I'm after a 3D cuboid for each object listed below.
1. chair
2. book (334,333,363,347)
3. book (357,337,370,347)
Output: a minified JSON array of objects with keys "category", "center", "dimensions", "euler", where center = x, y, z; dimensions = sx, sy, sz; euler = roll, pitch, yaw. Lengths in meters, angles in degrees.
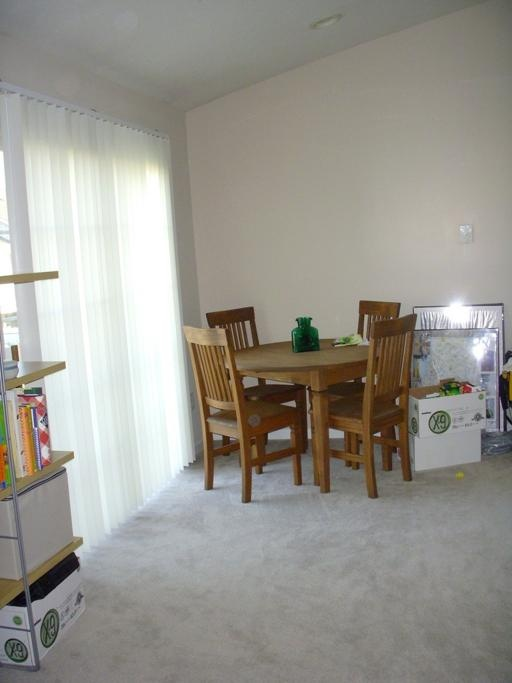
[{"category":"chair","center":[0.186,0.287,3.075],"dimensions":[1.239,0.863,1.009],"euler":[0,6,38]},{"category":"book","center":[0.602,-0.006,3.424],"dimensions":[0.129,0.053,0.100],"euler":[-2,5,-3]},{"category":"book","center":[0.703,0.004,3.461],"dimensions":[0.069,0.100,0.060],"euler":[0,14,6]}]
